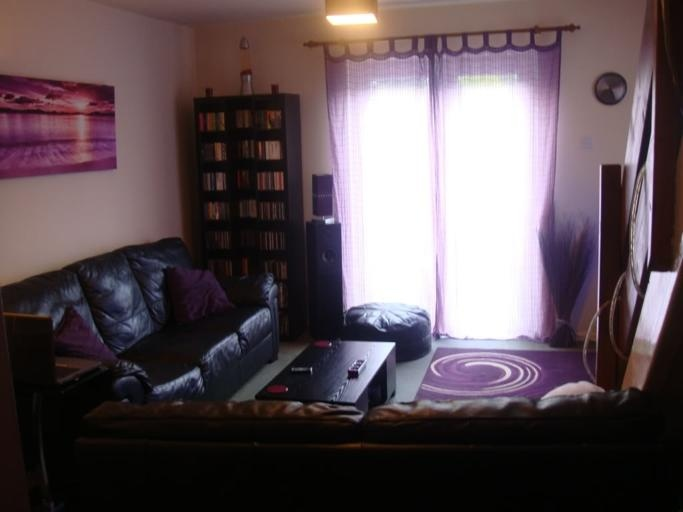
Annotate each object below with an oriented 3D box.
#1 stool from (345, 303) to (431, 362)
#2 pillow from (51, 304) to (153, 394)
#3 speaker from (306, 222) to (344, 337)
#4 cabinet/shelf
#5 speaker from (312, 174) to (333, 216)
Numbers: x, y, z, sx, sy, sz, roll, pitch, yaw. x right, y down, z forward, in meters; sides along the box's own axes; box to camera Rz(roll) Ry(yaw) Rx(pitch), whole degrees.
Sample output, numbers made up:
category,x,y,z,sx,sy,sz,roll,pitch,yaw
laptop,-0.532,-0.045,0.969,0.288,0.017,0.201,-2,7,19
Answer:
category,x,y,z,sx,sy,sz,roll,pitch,yaw
stool,0.437,0.633,5.028,0.506,0.282,0.545,2,10,17
pillow,-1.532,0.578,3.414,0.826,0.553,0.423,0,1,36
speaker,-0.177,0.241,5.517,0.388,1.049,0.291,-1,0,10
cabinet/shelf,-0.964,-0.457,5.721,0.910,2.262,0.403,0,21,-3
speaker,-0.180,-0.572,5.477,0.213,0.377,0.323,-1,0,-2
